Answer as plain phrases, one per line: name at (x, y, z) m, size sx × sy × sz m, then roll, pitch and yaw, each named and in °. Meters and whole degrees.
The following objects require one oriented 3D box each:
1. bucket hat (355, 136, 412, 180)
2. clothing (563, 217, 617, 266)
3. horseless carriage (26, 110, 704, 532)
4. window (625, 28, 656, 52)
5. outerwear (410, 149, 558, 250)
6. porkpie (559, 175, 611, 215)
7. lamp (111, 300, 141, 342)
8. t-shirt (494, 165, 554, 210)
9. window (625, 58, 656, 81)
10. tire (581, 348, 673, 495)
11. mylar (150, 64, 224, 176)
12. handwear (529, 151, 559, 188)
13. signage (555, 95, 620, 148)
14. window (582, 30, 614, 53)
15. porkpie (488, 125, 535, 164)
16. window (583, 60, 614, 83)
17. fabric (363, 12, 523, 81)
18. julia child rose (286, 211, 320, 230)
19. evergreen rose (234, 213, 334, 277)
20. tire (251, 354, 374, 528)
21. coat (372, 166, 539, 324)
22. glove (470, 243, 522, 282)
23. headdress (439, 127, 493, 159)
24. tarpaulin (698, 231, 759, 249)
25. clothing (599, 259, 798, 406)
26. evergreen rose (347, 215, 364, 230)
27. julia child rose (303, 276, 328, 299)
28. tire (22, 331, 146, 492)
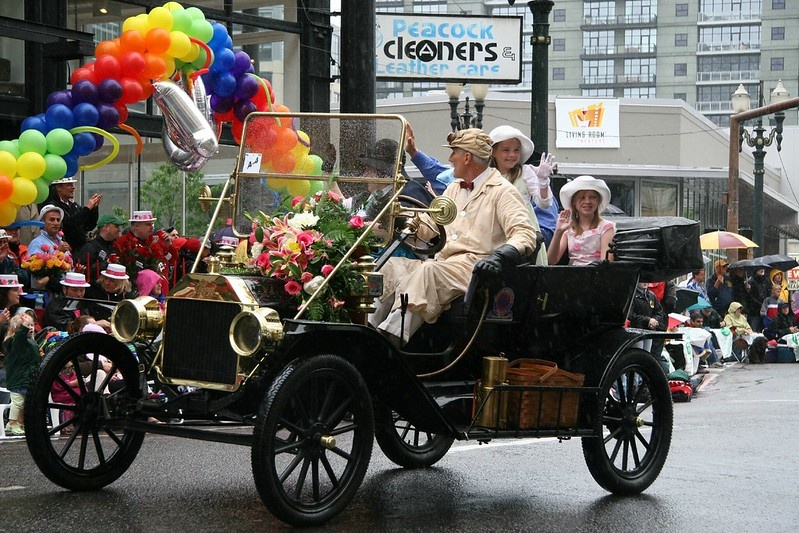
bucket hat at (-0.165, -1.077, 11.897) m, size 0.401 × 0.201 × 0.388 m, roll 22°, pitch 3°, yaw -34°
clothing at (2.101, -0.276, 13.175) m, size 0.436 × 0.400 × 0.259 m, roll -14°, pitch -46°, yaw 39°
horseless carriage at (0.059, 0.682, 12.484) m, size 6.312 × 2.979 × 3.524 m, roll 5°, pitch -8°, yaw -40°
window at (22.805, -21.379, 112.958) m, size 2.137 × 1.519 × 0.075 m, roll -1°, pitch 8°, yaw 9°
outerwear at (0.927, -0.690, 12.910) m, size 1.184 × 1.732 × 0.521 m, roll -2°, pitch -11°, yaw 2°
porkpie at (2.135, -0.807, 13.849) m, size 0.653 × 0.284 × 0.724 m, roll 1°, pitch -23°, yaw 3°
lamp at (-2.682, 0.516, 11.479) m, size 0.166 × 0.379 × 0.406 m, roll -4°, pitch 18°, yaw 17°
t-shirt at (1.521, -0.951, 14.234) m, size 0.207 × 0.541 × 0.420 m, roll -21°, pitch -8°, yaw -42°
window at (23.083, -18.659, 113.973) m, size 2.106 × 2.055 × 0.098 m, roll 5°, pitch 6°, yaw 20°
tire at (2.359, 1.619, 12.514) m, size 1.453 × 1.510 × 0.444 m, roll 4°, pitch -6°, yaw -37°
mylar at (-2.733, -1.766, 14.959) m, size 0.741 × 1.174 × 0.410 m, roll -29°, pitch -4°, yaw 28°
handwear at (1.771, -1.132, 14.242) m, size 0.113 × 0.343 × 0.331 m, roll 9°, pitch 34°, yaw -48°
signage at (5.508, -4.259, 35.407) m, size 2.139 × 1.463 × 0.234 m, roll -3°, pitch 6°, yaw -19°
window at (19.085, -21.510, 114.401) m, size 2.271 × 1.610 × 0.036 m, roll 1°, pitch 10°, yaw 18°
porkpie at (1.346, -1.508, 13.950) m, size 0.423 × 0.235 × 0.511 m, roll 4°, pitch -30°, yaw 23°
window at (19.273, -18.671, 115.166) m, size 2.397 × 2.325 × 0.094 m, roll 0°, pitch 0°, yaw 6°
fabric at (0.662, -3.537, 19.342) m, size 1.730 × 0.782 × 0.062 m, roll 1°, pitch 7°, yaw -4°
julia child rose at (-0.945, -0.440, 11.611) m, size 0.209 × 0.095 × 0.196 m, roll -16°, pitch 40°, yaw -32°
evergreen rose at (-1.047, -0.202, 11.570) m, size 0.856 × 0.635 × 0.505 m, roll 3°, pitch 6°, yaw 5°
tire at (-0.825, 1.583, 11.103) m, size 1.513 × 1.603 × 0.426 m, roll 6°, pitch -4°, yaw -29°
coat at (0.418, -0.067, 12.524) m, size 1.658 × 1.955 × 1.525 m, roll 1°, pitch 12°, yaw -15°
glove at (0.987, -0.046, 11.854) m, size 0.608 × 0.337 × 0.211 m, roll -3°, pitch 9°, yaw -44°
headdress at (0.735, -1.297, 12.645) m, size 0.425 × 0.204 × 0.299 m, roll 12°, pitch 0°, yaw 2°
tarpaulin at (7.932, -0.625, 28.734) m, size 1.088 × 0.300 × 1.096 m, roll 1°, pitch 0°, yaw 36°
clothing at (5.280, 1.677, 21.239) m, size 4.685 × 2.761 × 1.534 m, roll 14°, pitch -20°, yaw -39°
evergreen rose at (-0.422, -0.419, 11.574) m, size 0.127 × 0.122 × 0.095 m, roll 2°, pitch 0°, yaw -19°
julia child rose at (-0.818, 0.186, 11.334) m, size 0.198 × 0.184 × 0.099 m, roll 2°, pitch 7°, yaw -4°
tire at (-3.124, 1.481, 11.923) m, size 1.223 × 1.330 × 0.263 m, roll -25°, pitch 21°, yaw -34°
